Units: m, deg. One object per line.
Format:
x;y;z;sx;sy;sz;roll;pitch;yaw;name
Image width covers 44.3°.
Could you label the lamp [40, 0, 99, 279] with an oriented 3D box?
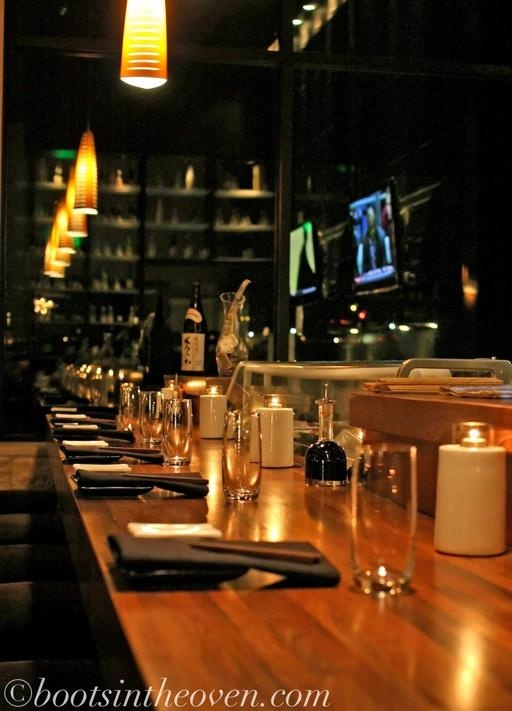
-1.098;-0.991;3.730;0.335;0.987;1.204;0;1;-19;lamp
